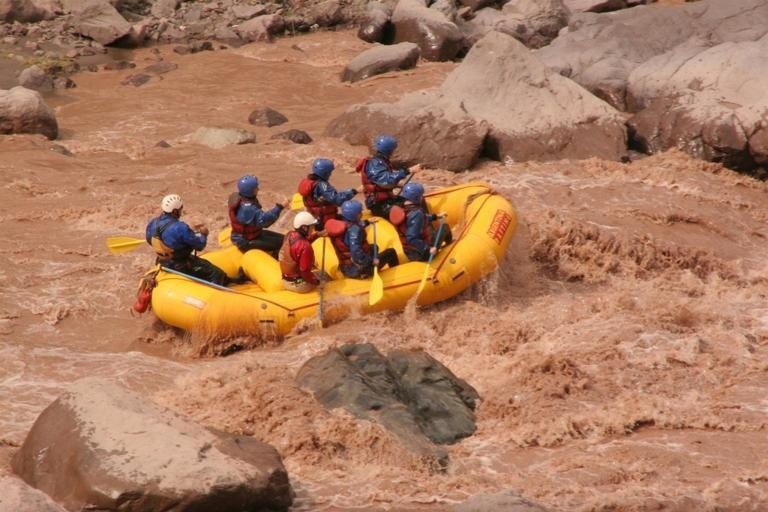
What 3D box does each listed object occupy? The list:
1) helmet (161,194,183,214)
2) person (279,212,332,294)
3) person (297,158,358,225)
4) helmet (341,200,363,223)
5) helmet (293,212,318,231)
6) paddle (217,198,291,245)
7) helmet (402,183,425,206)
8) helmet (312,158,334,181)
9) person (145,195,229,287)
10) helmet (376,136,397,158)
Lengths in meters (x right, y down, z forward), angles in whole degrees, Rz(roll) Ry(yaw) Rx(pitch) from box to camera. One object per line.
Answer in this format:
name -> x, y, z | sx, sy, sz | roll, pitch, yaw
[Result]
helmet -> -4.006, -0.996, 25.226 | 0.335, 0.295, 0.366 | 0, 28, -6
person -> -1.546, -0.056, 25.157 | 0.871, 1.523, 0.526 | 1, 32, -4
person -> -1.131, -1.216, 26.476 | 0.959, 1.502, 0.708 | -27, 59, -15
helmet -> -0.625, -0.854, 25.291 | 0.402, 0.363, 0.312 | 2, 29, -2
helmet -> -1.530, -0.653, 25.025 | 0.469, 0.183, 0.269 | -12, 25, -2
paddle -> -2.610, -0.678, 26.120 | 1.224, 0.932, 1.470 | -9, 19, -19
helmet -> 0.593, -1.208, 25.764 | 0.469, 0.311, 0.469 | 20, 35, 27
helmet -> -1.237, -1.710, 26.107 | 0.543, 0.387, 0.389 | -11, 36, -18
person -> -3.750, -0.226, 25.317 | 1.479, 1.755, 0.674 | 1, 32, -5
helmet -> 0.058, -2.154, 26.549 | 0.567, 0.354, 0.305 | -11, 58, -12
